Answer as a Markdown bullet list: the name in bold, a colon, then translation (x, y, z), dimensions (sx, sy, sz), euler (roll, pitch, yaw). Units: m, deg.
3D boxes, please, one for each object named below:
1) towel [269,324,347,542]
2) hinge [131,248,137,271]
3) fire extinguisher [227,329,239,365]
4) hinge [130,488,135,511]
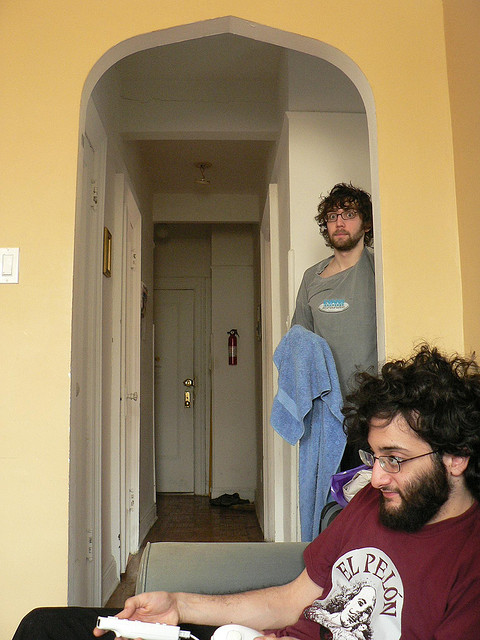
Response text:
- **towel**: translation (0.240, 0.376, 1.987), dimensions (0.256, 0.735, 0.165), euler (-6, -9, 16)
- **hinge**: translation (-0.723, -0.419, 3.896), dimensions (0.024, 0.175, 0.087), euler (-5, -9, 11)
- **fire extinguisher**: translation (-0.068, 0.265, 5.577), dimensions (0.091, 0.345, 0.117), euler (-8, -9, 28)
- **hinge**: translation (-0.682, 1.136, 3.599), dimensions (0.018, 0.139, 0.066), euler (-5, -9, 11)
